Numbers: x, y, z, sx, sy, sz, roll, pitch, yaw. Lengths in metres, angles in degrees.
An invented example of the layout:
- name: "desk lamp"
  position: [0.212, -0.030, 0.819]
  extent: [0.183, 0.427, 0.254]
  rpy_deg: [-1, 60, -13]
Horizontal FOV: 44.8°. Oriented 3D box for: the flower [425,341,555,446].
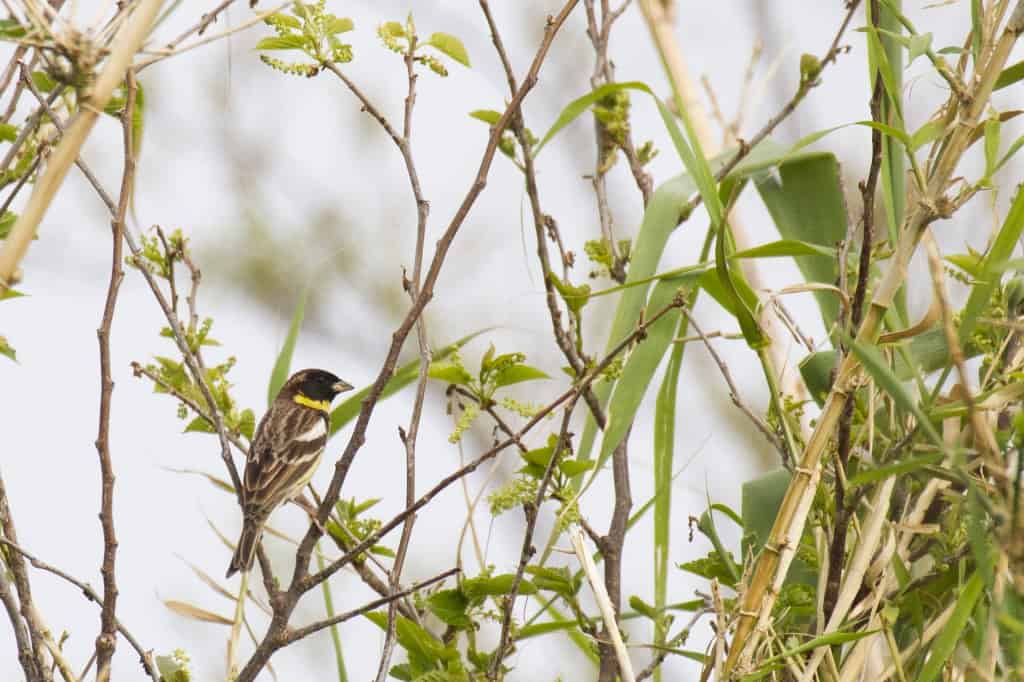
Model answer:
- name: "flower"
  position: [-0.037, 0.113, 2.133]
  extent: [0.195, 0.203, 0.077]
  rpy_deg: [-4, -56, -10]
